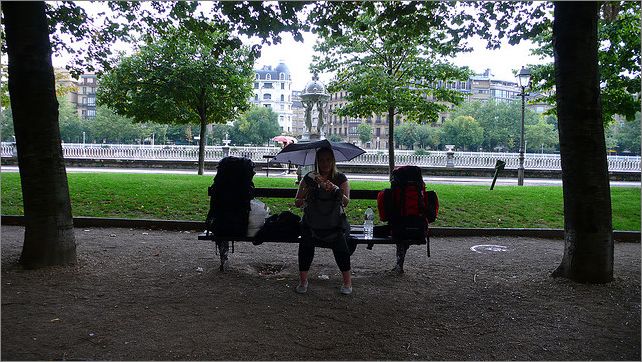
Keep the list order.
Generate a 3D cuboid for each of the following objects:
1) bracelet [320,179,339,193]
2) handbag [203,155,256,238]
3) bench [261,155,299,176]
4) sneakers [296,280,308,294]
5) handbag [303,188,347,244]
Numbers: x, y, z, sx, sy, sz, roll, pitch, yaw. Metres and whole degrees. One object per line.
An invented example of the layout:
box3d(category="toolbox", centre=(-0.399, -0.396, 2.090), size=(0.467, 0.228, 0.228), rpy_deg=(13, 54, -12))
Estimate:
box3d(category="bracelet", centre=(0.191, 0.098, 10.552), size=(0.395, 0.207, 0.202), rpy_deg=(6, 15, 18))
box3d(category="handbag", centre=(-2.012, 0.362, 11.111), size=(1.040, 1.762, 0.516), rpy_deg=(0, 16, -7))
box3d(category="bench", centre=(-2.972, -1.107, 39.646), size=(3.141, 1.596, 2.531), rpy_deg=(-1, 4, -8))
box3d(category="sneakers", centre=(-0.402, 2.260, 10.734), size=(0.278, 0.154, 0.613), rpy_deg=(-1, -5, 2))
box3d(category="handbag", centre=(0.073, 0.744, 10.549), size=(1.391, 1.270, 0.808), rpy_deg=(1, -1, -3))
